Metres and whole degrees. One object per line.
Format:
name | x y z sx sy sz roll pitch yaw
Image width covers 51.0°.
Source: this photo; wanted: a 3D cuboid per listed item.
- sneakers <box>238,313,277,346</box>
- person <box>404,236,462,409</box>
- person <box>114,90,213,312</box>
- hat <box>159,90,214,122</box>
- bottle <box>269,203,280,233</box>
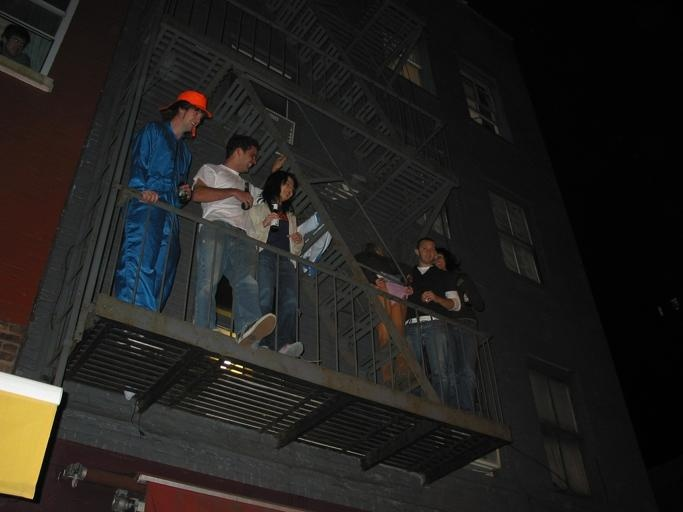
sneakers | -0.954 0.858 8.227 0.262 0.286 0.592 26 -36 -29
person | 1.313 0.837 10.292 0.782 2.720 0.959 2 -30 9
person | -2.280 -0.791 8.965 0.885 3.324 0.827 17 -31 -19
hat | -2.088 -2.211 9.771 0.679 0.389 0.493 9 -7 -10
bottle | -0.882 -0.509 9.402 0.137 0.513 0.147 -2 -26 -1
